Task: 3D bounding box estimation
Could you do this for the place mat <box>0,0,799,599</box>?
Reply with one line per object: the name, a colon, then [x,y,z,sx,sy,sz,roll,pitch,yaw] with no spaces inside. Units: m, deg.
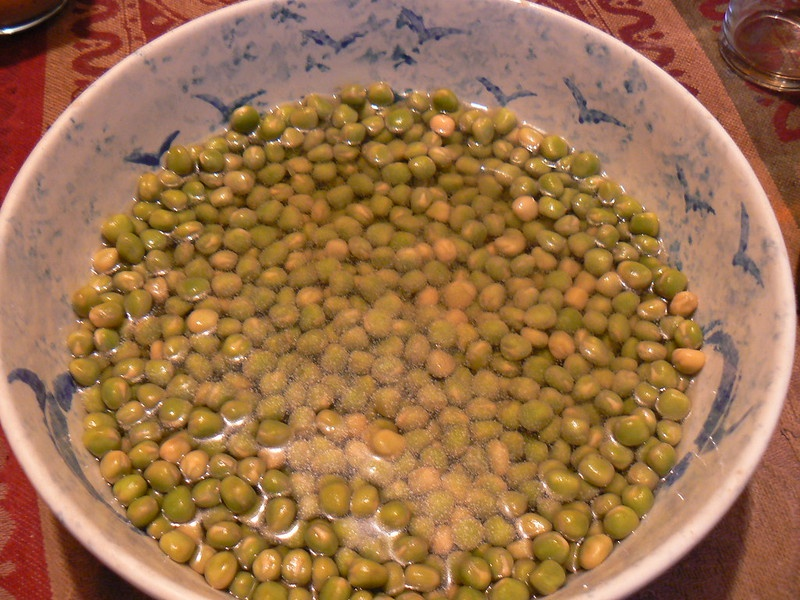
place mat: [0.011,-0.271,1.770,1.145,0.334,1.331,-12,77,-3]
